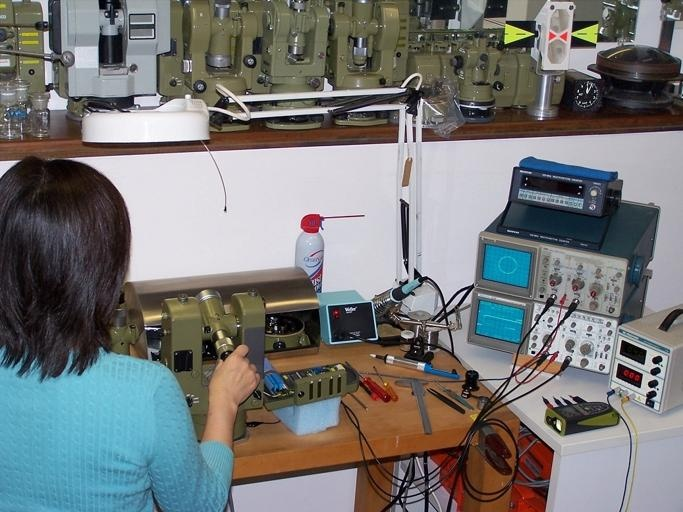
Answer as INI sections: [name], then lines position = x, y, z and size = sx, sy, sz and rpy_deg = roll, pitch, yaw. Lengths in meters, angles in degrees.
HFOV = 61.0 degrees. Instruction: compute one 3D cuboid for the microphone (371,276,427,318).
[microphone]
position = 0.195, 0.150, 2.292
size = 0.192, 0.164, 0.206
rpy_deg = 19, 27, 39
